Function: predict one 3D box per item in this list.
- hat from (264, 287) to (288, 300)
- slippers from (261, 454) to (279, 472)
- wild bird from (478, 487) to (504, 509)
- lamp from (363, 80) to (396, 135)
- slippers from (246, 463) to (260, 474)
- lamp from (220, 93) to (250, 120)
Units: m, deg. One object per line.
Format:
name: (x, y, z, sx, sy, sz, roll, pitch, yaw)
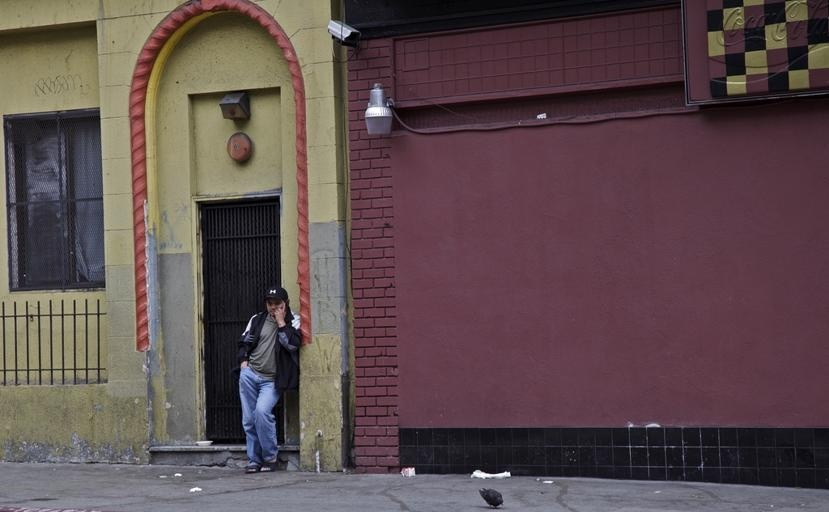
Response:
hat: (-2.169, 0.617, 25.505, 0.372, 0.215, 0.284, -1, -4, -13)
slippers: (-2.288, 3.287, 25.434, 0.233, 0.160, 0.595, -4, -6, 9)
wild bird: (1.078, 3.453, 22.829, 0.316, 0.287, 0.379, -3, -4, 4)
lamp: (-0.555, -2.289, 25.212, 0.400, 0.832, 0.426, -3, -3, 10)
slippers: (-2.549, 3.361, 25.385, 0.212, 0.159, 0.182, -2, -4, 1)
lamp: (-2.910, -2.422, 26.165, 0.360, 0.458, 0.372, -4, -4, 22)
